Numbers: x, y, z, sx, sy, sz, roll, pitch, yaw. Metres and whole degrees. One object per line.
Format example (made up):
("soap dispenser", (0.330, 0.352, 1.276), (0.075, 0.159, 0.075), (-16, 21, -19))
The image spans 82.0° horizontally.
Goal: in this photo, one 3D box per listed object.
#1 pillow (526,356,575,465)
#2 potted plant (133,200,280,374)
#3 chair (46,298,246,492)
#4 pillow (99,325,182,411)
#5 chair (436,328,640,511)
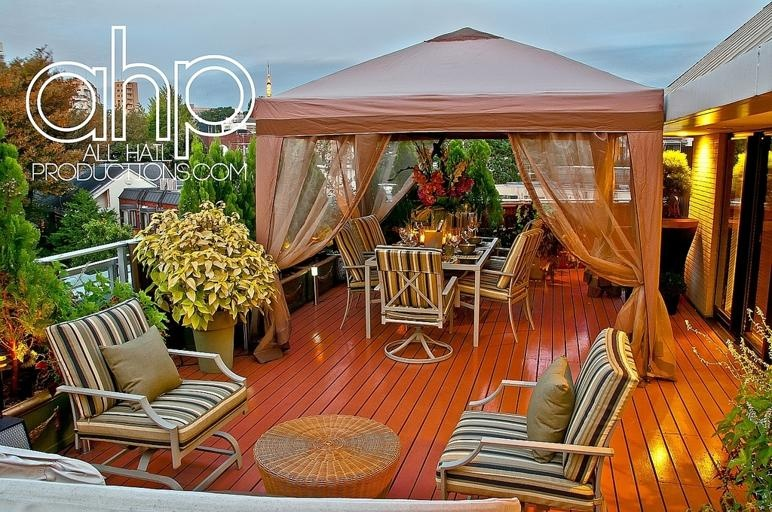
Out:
("pillow", (1.088, 1.047, 2.938), (0.255, 0.489, 0.731), (3, 6, 14))
("potted plant", (-1.896, 0.565, 5.136), (1.130, 1.335, 1.266), (2, -3, 22))
("chair", (-1.885, 1.162, 3.609), (1.235, 1.312, 1.092), (4, 6, 2))
("pillow", (-1.910, 0.897, 3.540), (0.277, 0.491, 0.563), (3, 8, 10))
("chair", (1.027, 1.087, 3.246), (1.302, 1.367, 1.098), (3, 13, 20))
